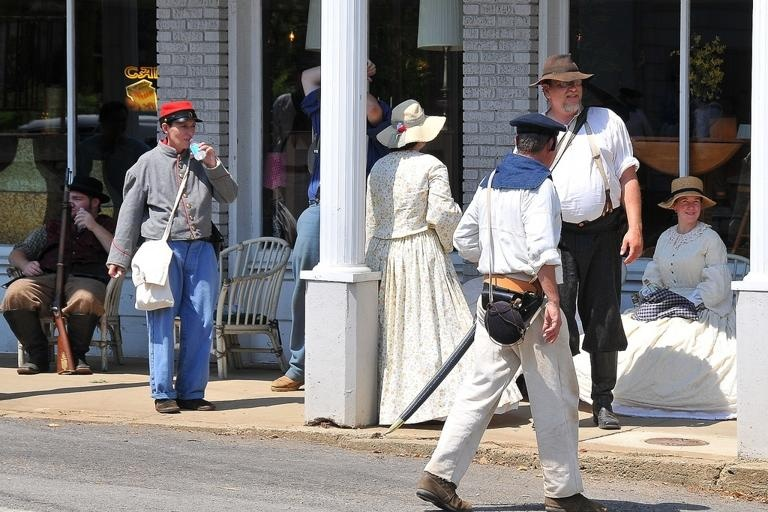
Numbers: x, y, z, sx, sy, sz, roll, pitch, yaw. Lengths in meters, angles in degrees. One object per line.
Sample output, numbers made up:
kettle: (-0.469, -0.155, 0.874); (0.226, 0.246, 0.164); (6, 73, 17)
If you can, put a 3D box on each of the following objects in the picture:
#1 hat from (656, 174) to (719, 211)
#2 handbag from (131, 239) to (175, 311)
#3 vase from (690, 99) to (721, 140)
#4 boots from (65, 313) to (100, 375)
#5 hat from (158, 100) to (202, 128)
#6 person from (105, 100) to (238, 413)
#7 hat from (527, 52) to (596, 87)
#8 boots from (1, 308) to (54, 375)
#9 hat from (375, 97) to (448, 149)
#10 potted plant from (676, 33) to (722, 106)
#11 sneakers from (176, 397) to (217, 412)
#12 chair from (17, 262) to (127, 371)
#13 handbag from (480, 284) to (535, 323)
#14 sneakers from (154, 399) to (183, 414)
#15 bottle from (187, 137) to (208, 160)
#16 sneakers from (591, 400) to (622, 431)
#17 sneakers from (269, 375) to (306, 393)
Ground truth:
hat: (2.684, -0.531, 13.704); (0.428, 0.194, 0.326); (14, 14, -20)
handbag: (-1.937, 0.152, 13.143); (0.311, 0.558, 0.258); (-2, 5, -25)
vase: (2.937, -1.215, 14.551); (0.284, 0.270, 0.222); (5, -10, -34)
boots: (-2.814, 0.802, 14.700); (0.299, 0.547, 0.201); (-1, 5, -17)
hat: (-1.783, -1.183, 13.347); (0.335, 0.136, 0.261); (1, 3, 31)
person: (-1.758, 0.005, 13.332); (1.017, 2.580, 0.448); (0, 4, -6)
hat: (1.457, -1.496, 12.642); (0.514, 0.189, 0.501); (-13, 11, -18)
boots: (-3.354, 0.780, 14.772); (0.413, 0.586, 0.328); (-1, 4, -14)
hat: (0.227, -1.132, 13.025); (0.545, 0.230, 0.566); (19, 46, 38)
potted plant: (2.922, -1.695, 14.554); (0.432, 0.547, 0.276); (-1, 0, -17)
sneakers: (-1.595, 1.262, 13.433); (0.329, 0.111, 0.112); (0, -4, 7)
chair: (-2.891, 0.574, 15.064); (0.947, 1.009, 0.860); (0, -2, 21)
handbag: (0.909, 0.331, 11.318); (0.333, 0.126, 0.255); (12, 1, 24)
sneakers: (-1.826, 1.246, 13.305); (0.209, 0.108, 0.200); (0, 4, -8)
bottle: (-1.573, -0.875, 13.272); (0.122, 0.163, 0.318); (-1, 4, -16)
sneakers: (1.806, 1.286, 12.768); (0.196, 0.204, 0.516); (-1, -7, -8)
sneakers: (-0.848, 1.132, 14.018); (0.269, 0.091, 0.124); (2, -2, -20)
